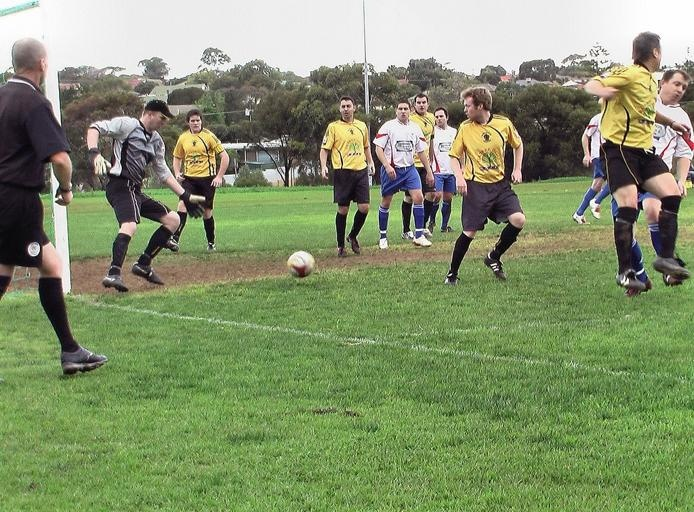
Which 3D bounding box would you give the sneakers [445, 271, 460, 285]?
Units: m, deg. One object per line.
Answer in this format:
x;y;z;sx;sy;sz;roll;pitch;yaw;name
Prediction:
1.232;0.263;10.898;0.108;0.172;0.165;-1;6;1;sneakers

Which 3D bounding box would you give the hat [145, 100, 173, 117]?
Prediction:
-2.217;-1.718;10.973;0.329;0.243;0.523;-5;14;-12;hat

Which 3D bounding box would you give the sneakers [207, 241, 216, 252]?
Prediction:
-2.202;-0.147;15.102;0.128;0.253;0.163;-1;5;1;sneakers

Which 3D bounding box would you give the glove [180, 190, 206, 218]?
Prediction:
-1.775;-0.557;10.711;0.256;0.336;0.635;-5;14;-11;glove

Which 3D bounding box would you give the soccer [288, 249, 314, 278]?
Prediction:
-0.549;0.125;10.987;0.270;0.324;0.327;-2;13;-1;soccer

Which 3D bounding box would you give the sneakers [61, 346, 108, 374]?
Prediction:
-2.171;0.838;7.731;0.443;0.293;0.167;-2;7;-17;sneakers

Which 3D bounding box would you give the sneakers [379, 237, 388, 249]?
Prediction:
0.562;-0.185;14.565;0.090;0.121;0.170;-1;-7;1;sneakers

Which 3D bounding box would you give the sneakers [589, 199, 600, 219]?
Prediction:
4.589;-0.875;17.290;0.116;0.328;0.134;-20;-7;-38;sneakers

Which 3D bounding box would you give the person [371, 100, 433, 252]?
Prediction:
0.894;-1.230;14.601;0.881;2.379;1.420;-1;13;5;person

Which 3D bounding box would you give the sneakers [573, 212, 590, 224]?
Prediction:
4.383;-0.690;17.145;0.441;0.201;0.166;-4;11;-25;sneakers

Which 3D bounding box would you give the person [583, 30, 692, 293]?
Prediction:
2.840;-0.808;9.165;0.962;2.688;1.184;3;14;19;person

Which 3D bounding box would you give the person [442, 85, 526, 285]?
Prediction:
1.606;-0.821;10.995;0.922;2.309;0.944;0;13;7;person

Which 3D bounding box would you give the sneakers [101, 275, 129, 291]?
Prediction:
-2.663;0.326;10.649;0.362;0.186;0.136;14;6;41;sneakers
